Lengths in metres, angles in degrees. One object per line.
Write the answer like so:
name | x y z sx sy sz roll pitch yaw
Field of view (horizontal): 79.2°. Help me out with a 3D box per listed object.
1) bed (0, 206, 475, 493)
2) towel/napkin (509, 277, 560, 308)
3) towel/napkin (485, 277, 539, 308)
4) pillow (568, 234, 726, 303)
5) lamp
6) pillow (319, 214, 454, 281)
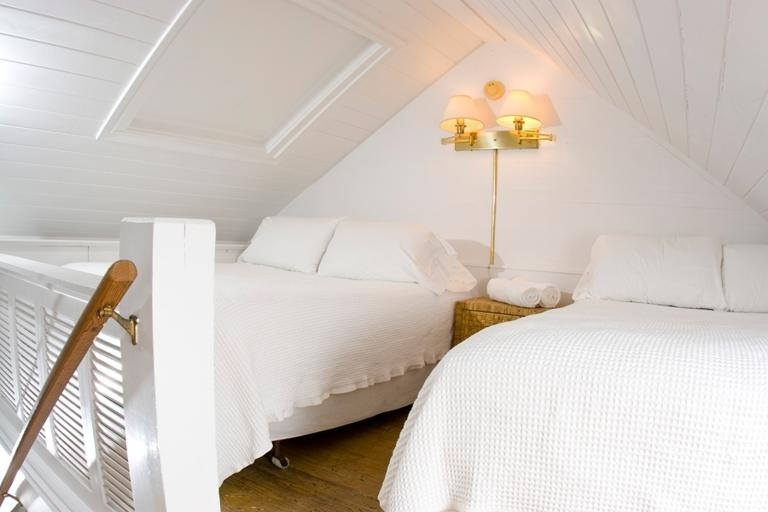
bed | -0.517 0.374 1.814 1.336 0.551 1.325 4 1 43
towel/napkin | 0.957 0.215 2.828 0.205 0.078 0.200 -6 13 -29
towel/napkin | 0.785 0.213 2.830 0.190 0.073 0.186 -7 11 -43
pillow | 1.363 0.043 2.343 0.531 0.378 0.091 4 -37 39
lamp | 0.732 -0.928 3.125 0.784 0.402 0.345 6 9 28
pillow | -0.072 -0.044 2.893 0.537 0.469 0.143 5 -34 15
